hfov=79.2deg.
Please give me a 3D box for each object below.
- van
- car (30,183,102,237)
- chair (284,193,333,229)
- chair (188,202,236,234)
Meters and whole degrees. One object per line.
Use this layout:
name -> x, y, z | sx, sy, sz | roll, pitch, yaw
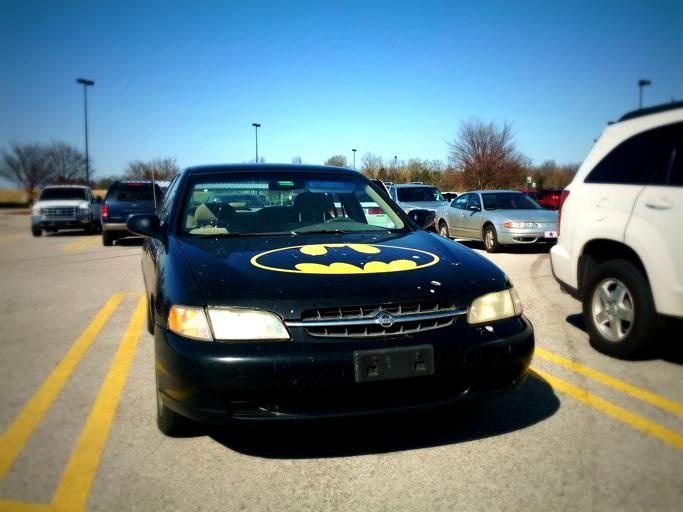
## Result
van -> -5.600, -1.162, 10.899 | 1.585, 1.554, 3.386 | -2, 14, -16
car -> -11.487, -2.046, 17.164 | 1.714, 1.575, 3.619 | -1, 1, -10
chair -> -0.283, -0.417, 3.652 | 0.343, 0.377, 0.303 | 1, 0, -18
chair -> -1.060, -0.311, 3.415 | 0.281, 0.347, 0.273 | 2, 1, -6
